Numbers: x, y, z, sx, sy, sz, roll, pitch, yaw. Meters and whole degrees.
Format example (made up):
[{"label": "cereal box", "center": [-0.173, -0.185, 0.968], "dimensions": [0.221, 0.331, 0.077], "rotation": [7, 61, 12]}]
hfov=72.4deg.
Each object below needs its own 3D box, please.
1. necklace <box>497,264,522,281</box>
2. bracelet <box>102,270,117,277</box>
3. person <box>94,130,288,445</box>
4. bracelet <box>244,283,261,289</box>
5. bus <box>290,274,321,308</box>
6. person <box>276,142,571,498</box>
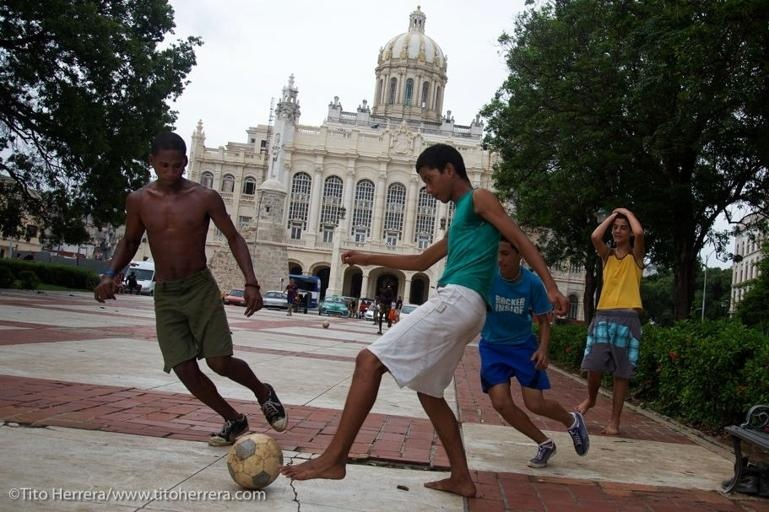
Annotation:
[{"label": "necklace", "center": [1.124, 0.145, 4.700], "dimensions": [0.150, 0.120, 0.209], "rotation": [1, -2, 18]}, {"label": "bracelet", "center": [-2.243, 0.134, 4.266], "dimensions": [0.076, 0.075, 0.056], "rotation": [-6, 19, 3]}, {"label": "person", "center": [-1.581, 0.244, 4.293], "dimensions": [1.565, 2.650, 0.693], "rotation": [6, -1, 0]}, {"label": "bracelet", "center": [-1.062, 0.237, 4.252], "dimensions": [0.082, 0.029, 0.068], "rotation": [2, 1, -33]}, {"label": "bus", "center": [-7.841, 3.110, 50.271], "dimensions": [2.439, 2.667, 6.346], "rotation": [2, -11, 7]}, {"label": "person", "center": [0.347, 0.417, 3.803], "dimensions": [1.513, 2.410, 0.695], "rotation": [6, -1, -6]}]
